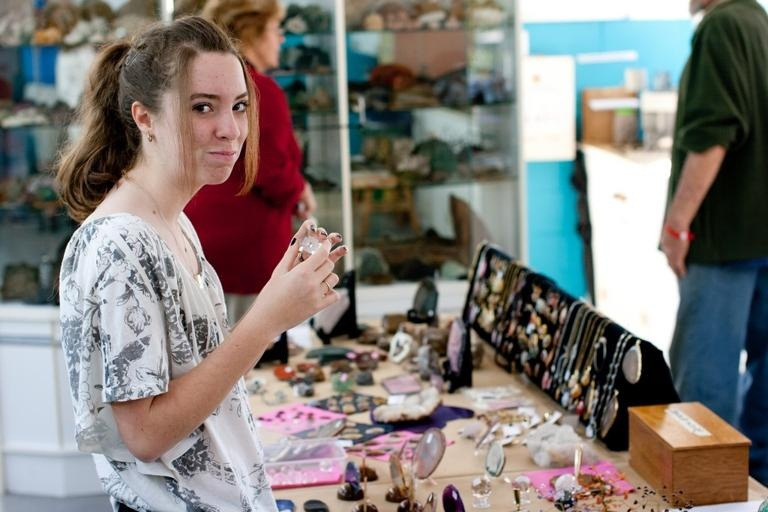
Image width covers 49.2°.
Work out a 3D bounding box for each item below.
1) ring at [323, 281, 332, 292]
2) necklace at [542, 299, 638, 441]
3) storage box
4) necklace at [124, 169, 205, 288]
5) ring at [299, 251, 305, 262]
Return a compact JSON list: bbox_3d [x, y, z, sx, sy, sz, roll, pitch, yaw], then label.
[{"bbox_3d":[-0.149,0.077,2.174,0.007,0.020,0.017,-14,18,-21],"label":"ring"},{"bbox_3d":[0.634,0.366,2.615,0.034,0.320,0.307,1,31,-26],"label":"necklace"},{"bbox_3d":[0.877,0.542,2.394,0.234,0.193,0.326,-3,13,-9],"label":"storage box"},{"bbox_3d":[-0.583,-0.070,2.178,0.154,0.289,0.213,-21,10,6],"label":"necklace"},{"bbox_3d":[-0.226,0.001,2.284,0.021,0.029,0.027,-1,-2,-5],"label":"ring"}]
